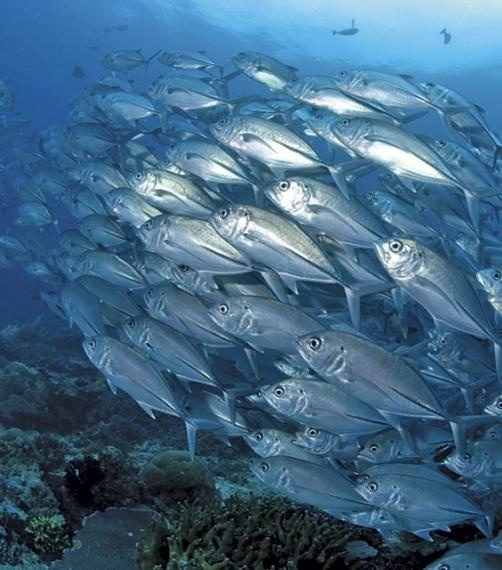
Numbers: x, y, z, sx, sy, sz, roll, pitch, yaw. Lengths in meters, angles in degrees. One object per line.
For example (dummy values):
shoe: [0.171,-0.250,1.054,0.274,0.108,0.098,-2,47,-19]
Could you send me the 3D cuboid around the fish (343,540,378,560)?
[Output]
fish: [1.105,2.693,6.181,0.302,0.080,0.222,-5,11,-28]
